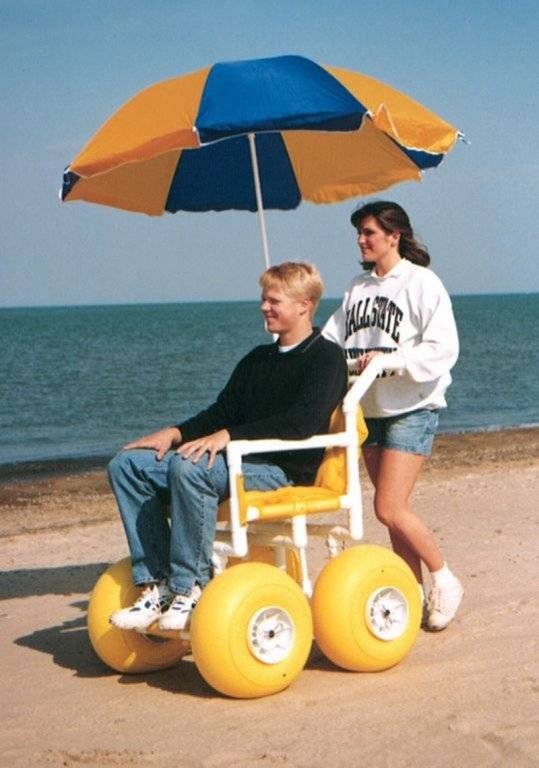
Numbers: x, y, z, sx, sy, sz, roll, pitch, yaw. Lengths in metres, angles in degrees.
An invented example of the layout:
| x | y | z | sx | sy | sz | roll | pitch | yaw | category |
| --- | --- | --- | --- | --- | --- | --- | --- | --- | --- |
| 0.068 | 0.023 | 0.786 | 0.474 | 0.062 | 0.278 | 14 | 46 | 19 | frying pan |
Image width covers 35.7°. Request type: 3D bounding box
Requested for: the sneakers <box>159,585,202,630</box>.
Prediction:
| x | y | z | sx | sy | sz | roll | pitch | yaw | category |
| --- | --- | --- | --- | --- | --- | --- | --- | --- | --- |
| -0.320 | 0.856 | 3.245 | 0.094 | 0.093 | 0.250 | 6 | 15 | 17 | sneakers |

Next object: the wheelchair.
| x | y | z | sx | sy | sz | roll | pitch | yaw | category |
| --- | --- | --- | --- | --- | --- | --- | --- | --- | --- |
| -0.163 | 0.623 | 3.719 | 1.512 | 1.573 | 1.325 | 2 | -12 | -7 | wheelchair |

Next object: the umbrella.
| x | y | z | sx | sy | sz | roll | pitch | yaw | category |
| --- | --- | --- | --- | --- | --- | --- | --- | --- | --- |
| -0.084 | -1.025 | 4.607 | 2.087 | 1.270 | 2.061 | -9 | 6 | -31 | umbrella |

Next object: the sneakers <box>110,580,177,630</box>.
| x | y | z | sx | sy | sz | roll | pitch | yaw | category |
| --- | --- | --- | --- | --- | --- | --- | --- | --- | --- |
| -0.483 | 0.874 | 3.344 | 0.113 | 0.124 | 0.295 | 5 | 6 | 44 | sneakers |
